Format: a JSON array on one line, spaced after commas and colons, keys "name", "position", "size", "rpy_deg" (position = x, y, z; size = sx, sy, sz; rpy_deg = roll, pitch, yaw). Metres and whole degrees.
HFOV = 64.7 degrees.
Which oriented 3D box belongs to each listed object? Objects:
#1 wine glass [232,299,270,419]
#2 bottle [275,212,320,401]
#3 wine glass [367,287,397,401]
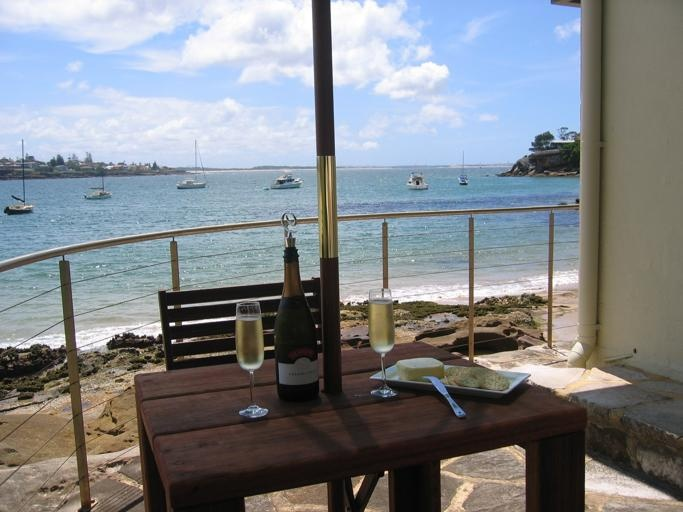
[{"name": "wine glass", "position": [-0.184, 0.213, 1.103], "size": [0.073, 0.215, 0.076], "rpy_deg": [1, 6, 27]}, {"name": "bottle", "position": [-0.105, 0.107, 1.137], "size": [0.114, 0.348, 0.089], "rpy_deg": [-1, 2, -14]}, {"name": "wine glass", "position": [0.091, 0.187, 1.158], "size": [0.072, 0.212, 0.067], "rpy_deg": [-3, -4, 8]}]
